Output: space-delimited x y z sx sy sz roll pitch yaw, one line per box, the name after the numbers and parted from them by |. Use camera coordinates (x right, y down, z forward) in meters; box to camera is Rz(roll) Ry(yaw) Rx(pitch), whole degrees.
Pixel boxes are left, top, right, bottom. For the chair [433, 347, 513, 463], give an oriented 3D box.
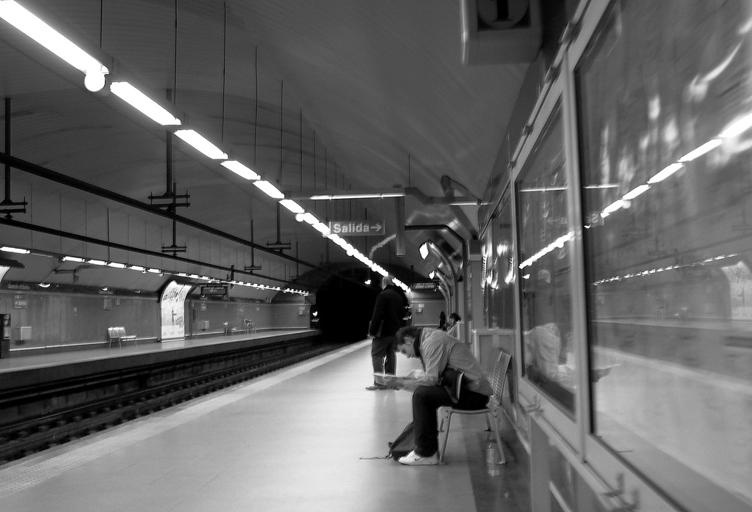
0.996 1.436 5.407 0.652 0.983 0.604 3 8 10 | chair

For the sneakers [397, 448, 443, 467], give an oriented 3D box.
0.410 1.944 5.129 0.408 0.188 0.154 1 -10 2 | sneakers
